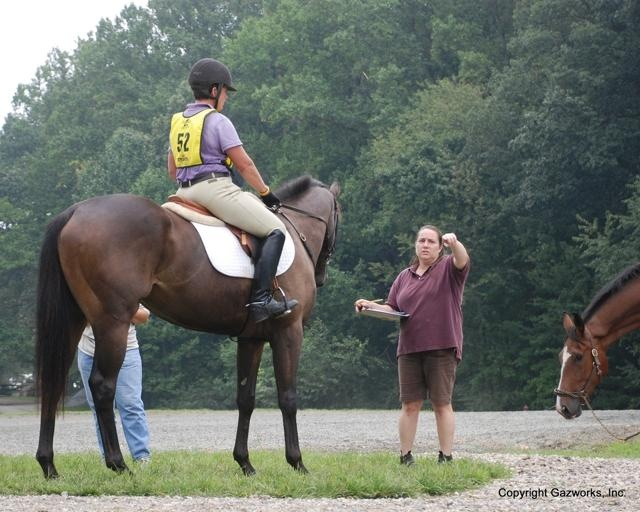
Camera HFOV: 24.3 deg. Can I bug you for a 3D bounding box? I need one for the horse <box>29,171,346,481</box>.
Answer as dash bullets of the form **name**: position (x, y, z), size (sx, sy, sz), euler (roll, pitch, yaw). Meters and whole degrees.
- **horse**: position (-3.682, 2.266, 47.948), size (11.360, 9.287, 3.223), euler (1, -3, -34)
